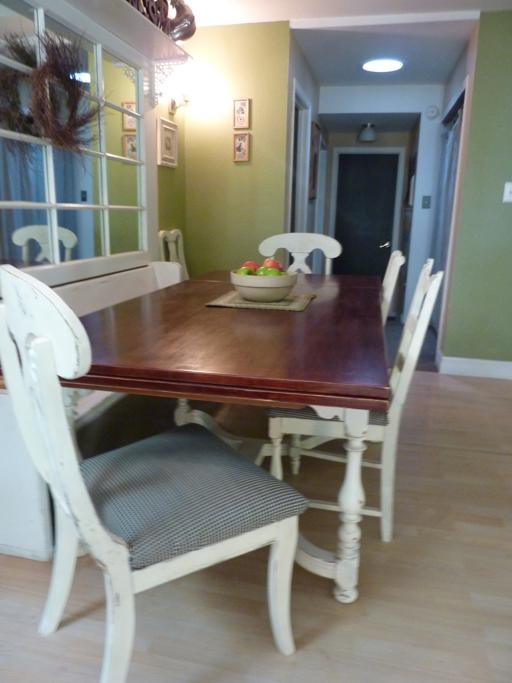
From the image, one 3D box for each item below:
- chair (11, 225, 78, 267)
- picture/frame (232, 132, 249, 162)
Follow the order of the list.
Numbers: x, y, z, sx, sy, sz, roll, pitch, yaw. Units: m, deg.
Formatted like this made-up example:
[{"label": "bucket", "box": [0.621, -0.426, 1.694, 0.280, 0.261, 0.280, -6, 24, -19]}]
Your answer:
[{"label": "chair", "box": [-0.849, -0.403, 2.065, 0.165, 0.229, 0.153, -8, 16, -33]}, {"label": "picture/frame", "box": [-0.106, -1.376, 3.623, 0.165, 0.270, 0.026, 2, 14, 9]}]
